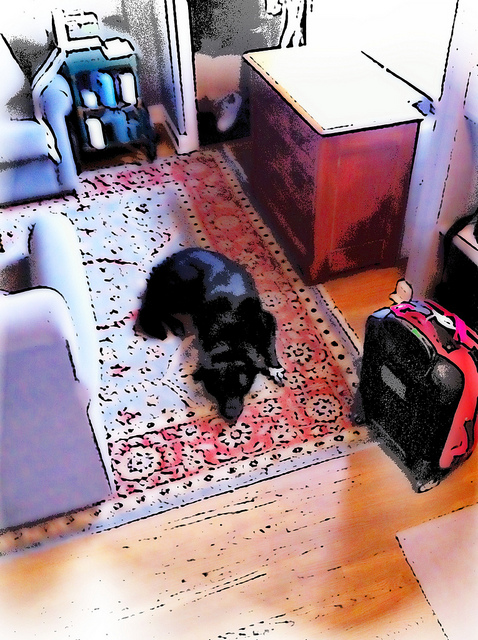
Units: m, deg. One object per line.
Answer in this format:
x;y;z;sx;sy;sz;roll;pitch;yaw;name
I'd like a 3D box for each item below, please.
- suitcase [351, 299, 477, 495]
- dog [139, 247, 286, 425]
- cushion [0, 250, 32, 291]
0.606;0.295;1.968;0.368;0.546;0.391;-28;54;-15;suitcase
-0.136;0.045;2.556;0.570;0.331;0.775;-12;81;-6;dog
-0.833;-0.183;2.130;0.109;0.011;0.280;-13;45;-15;cushion
